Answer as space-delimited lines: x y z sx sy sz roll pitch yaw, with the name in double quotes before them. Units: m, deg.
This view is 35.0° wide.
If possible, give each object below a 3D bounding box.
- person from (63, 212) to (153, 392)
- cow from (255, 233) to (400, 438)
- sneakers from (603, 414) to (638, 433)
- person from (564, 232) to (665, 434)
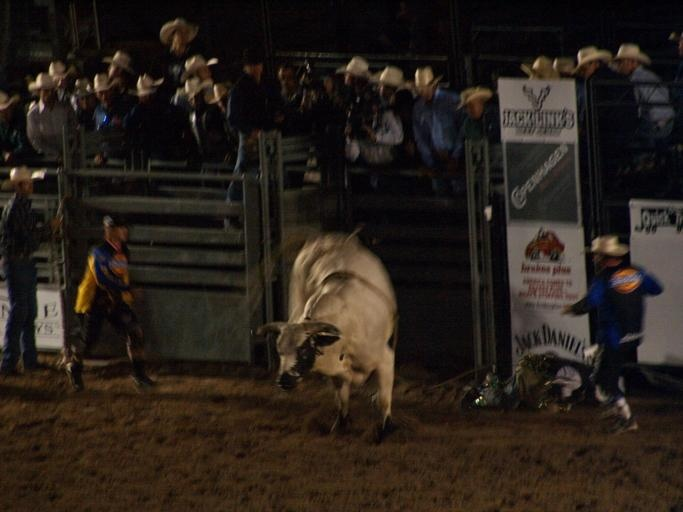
"person" -2.600 0.529 11.919 0.925 1.903 0.592 1 1 27
"cow" 0.005 0.751 10.788 0.879 1.330 2.543 4 30 7
"sneakers" 2.924 1.763 11.249 0.247 0.177 0.103 -4 2 2
"person" 2.867 0.797 11.361 0.870 2.013 0.550 0 1 -25
